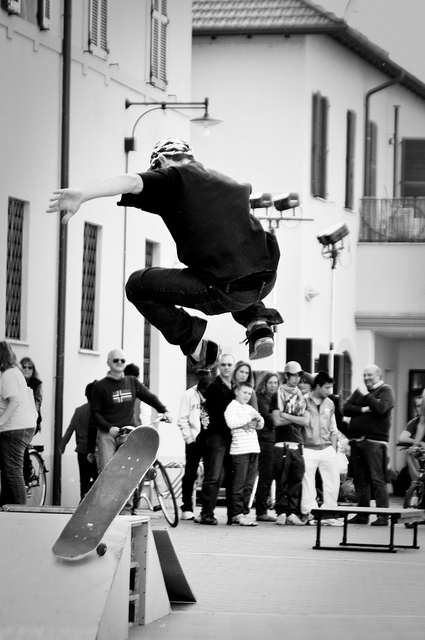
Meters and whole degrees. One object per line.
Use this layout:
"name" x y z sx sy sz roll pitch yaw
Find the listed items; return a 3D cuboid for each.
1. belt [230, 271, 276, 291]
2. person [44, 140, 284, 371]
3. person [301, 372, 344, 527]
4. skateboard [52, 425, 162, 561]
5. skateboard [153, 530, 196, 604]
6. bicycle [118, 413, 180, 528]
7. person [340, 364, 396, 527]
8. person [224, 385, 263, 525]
"belt" 0.269 -0.246 8.978 0.086 0.126 0.380 3 -1 43
"person" -0.122 -0.434 8.951 1.025 1.409 2.123 3 0 16
"person" 1.184 1.352 15.181 0.405 1.604 0.439 3 0 4
"skateboard" -0.616 1.055 8.925 0.289 0.238 1.287 5 48 28
"skateboard" -0.253 1.674 9.441 0.225 0.507 0.347 3 0 16
"bicycle" -0.630 1.792 15.294 0.628 0.951 1.391 0 -1 -7
"person" 1.758 1.293 15.448 0.433 1.676 0.799 3 0 -31
"person" 0.325 1.454 15.133 0.405 1.474 0.720 3 0 2
